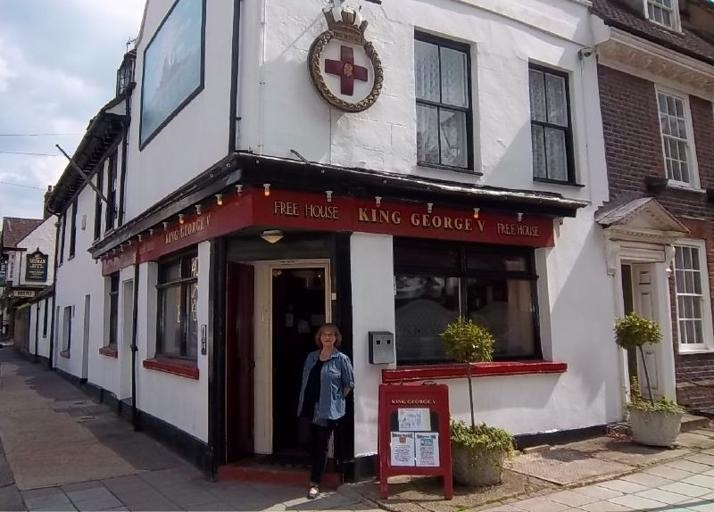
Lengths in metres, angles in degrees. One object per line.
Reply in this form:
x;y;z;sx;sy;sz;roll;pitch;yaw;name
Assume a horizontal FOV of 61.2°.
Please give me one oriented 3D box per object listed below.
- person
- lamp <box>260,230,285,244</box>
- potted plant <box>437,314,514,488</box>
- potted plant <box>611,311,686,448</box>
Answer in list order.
-0.519;2.403;9.718;0.769;2.617;0.661;0;-1;-25;person
-1.467;-0.328;10.432;0.432;0.219;0.362;-1;-1;0;lamp
1.859;2.325;10.001;1.037;2.600;1.254;-4;-6;-9;potted plant
5.581;2.317;11.668;1.135;2.401;1.407;-1;-1;25;potted plant
